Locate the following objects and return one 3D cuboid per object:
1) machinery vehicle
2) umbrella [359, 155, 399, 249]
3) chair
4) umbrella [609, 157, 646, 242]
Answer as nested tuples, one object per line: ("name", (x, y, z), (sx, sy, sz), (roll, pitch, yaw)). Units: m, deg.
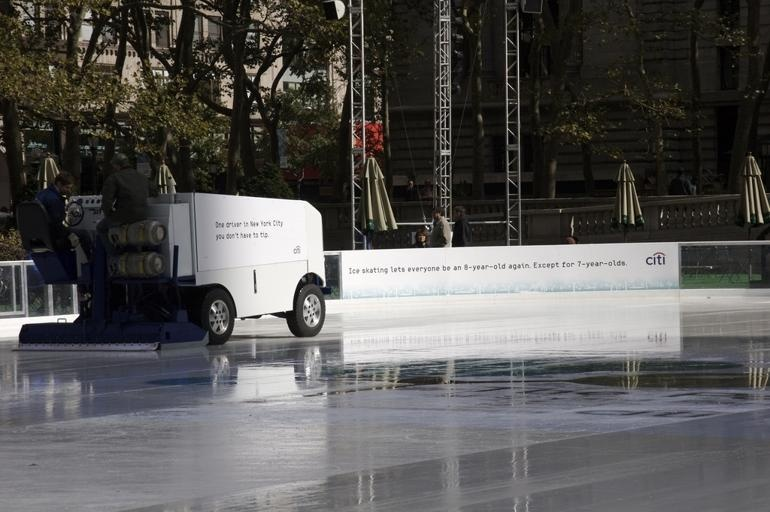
("machinery vehicle", (-4.869, 0.263, 39.527), (3.790, 3.043, 6.171), (-1, -1, 43))
("umbrella", (-0.298, -1.619, 49.895), (0.958, 2.320, 0.914), (-2, 0, -28))
("chair", (-7.642, -0.353, 38.933), (1.253, 1.798, 1.501), (-3, 2, 28))
("umbrella", (7.916, -1.723, 54.128), (1.124, 3.192, 1.151), (-4, 0, -9))
